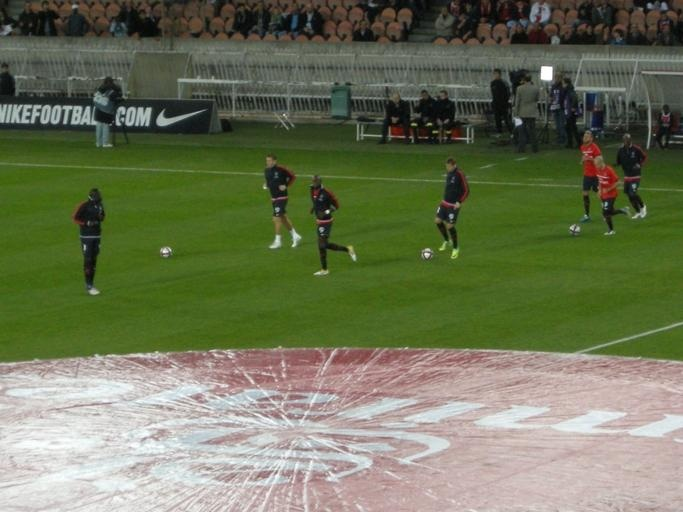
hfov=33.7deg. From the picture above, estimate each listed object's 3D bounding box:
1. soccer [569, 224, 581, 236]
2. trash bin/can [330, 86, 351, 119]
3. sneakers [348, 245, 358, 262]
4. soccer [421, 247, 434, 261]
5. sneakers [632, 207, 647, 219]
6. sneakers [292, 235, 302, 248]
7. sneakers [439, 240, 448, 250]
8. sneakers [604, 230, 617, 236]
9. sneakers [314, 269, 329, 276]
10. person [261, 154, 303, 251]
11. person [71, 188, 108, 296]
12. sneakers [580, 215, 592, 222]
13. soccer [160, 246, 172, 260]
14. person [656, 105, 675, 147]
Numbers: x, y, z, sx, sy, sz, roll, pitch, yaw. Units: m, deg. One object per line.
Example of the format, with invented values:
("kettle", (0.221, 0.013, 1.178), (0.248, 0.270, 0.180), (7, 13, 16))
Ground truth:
("soccer", (5.200, -0.597, 24.834), (0.221, 0.243, 0.364), (-1, 6, 10))
("trash bin/can", (0.073, -6.029, 43.199), (0.781, 1.312, 1.093), (-3, 6, 0))
("sneakers", (0.277, -0.072, 23.406), (0.133, 0.140, 0.378), (-5, 24, -7))
("soccer", (1.806, -0.040, 23.317), (0.271, 0.228, 0.254), (0, 14, 18))
("sneakers", (7.089, -1.018, 26.429), (0.518, 0.200, 0.169), (-6, 2, 22))
("sneakers", (-0.980, -0.332, 24.829), (0.122, 0.326, 0.140), (20, -24, 24))
("sneakers", (2.248, -0.244, 24.208), (0.108, 0.121, 0.314), (22, 33, 27))
("sneakers", (5.999, -0.521, 24.923), (0.307, 0.113, 0.093), (0, 16, 4))
("sneakers", (-0.360, 0.344, 22.608), (0.307, 0.107, 0.104), (1, 7, 15))
("person", (-1.249, -1.250, 24.840), (0.738, 2.088, 1.277), (-3, 6, -2))
("person", (-4.862, -0.319, 21.959), (0.568, 2.060, 1.413), (-4, 7, -12))
("sneakers", (5.763, -0.892, 26.209), (0.121, 0.134, 0.365), (6, 9, 42))
("soccer", (-3.660, -0.071, 23.822), (0.232, 0.200, 0.265), (-5, 7, -5))
("person", (10.119, -4.120, 34.951), (0.576, 1.341, 1.470), (-1, 6, 16))
